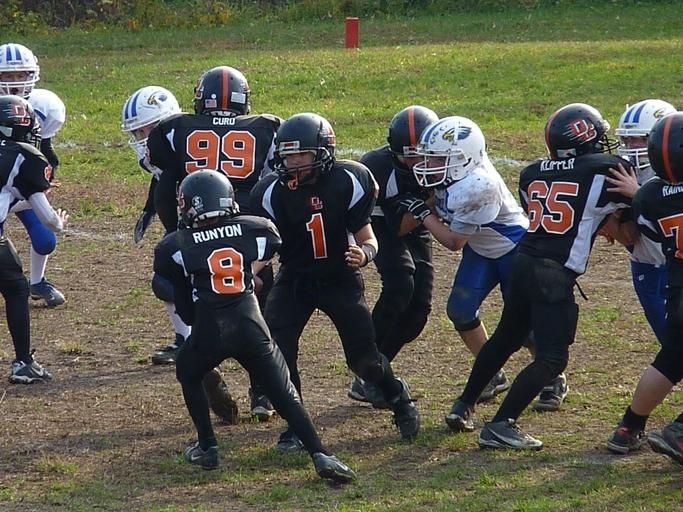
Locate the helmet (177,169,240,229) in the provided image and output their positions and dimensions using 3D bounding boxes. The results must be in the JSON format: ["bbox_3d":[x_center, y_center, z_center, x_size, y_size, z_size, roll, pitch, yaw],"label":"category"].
[{"bbox_3d":[-1.071,-0.501,8.626,0.452,0.416,0.569,-6,-3,-13],"label":"helmet"}]

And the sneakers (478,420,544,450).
[{"bbox_3d":[1.288,1.402,8.613,0.600,0.228,0.198,2,1,0],"label":"sneakers"}]

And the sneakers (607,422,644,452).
[{"bbox_3d":[2.193,1.396,8.463,0.378,0.157,0.138,-11,11,-40],"label":"sneakers"}]

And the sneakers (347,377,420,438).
[{"bbox_3d":[0.440,1.225,8.938,0.189,0.532,0.241,-38,-17,25],"label":"sneakers"}]

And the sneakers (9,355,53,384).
[{"bbox_3d":[-2.799,1.035,9.855,0.433,0.183,0.155,2,0,-30],"label":"sneakers"}]

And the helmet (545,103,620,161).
[{"bbox_3d":[1.951,-1.020,9.009,0.675,0.471,0.443,-9,14,-21],"label":"helmet"}]

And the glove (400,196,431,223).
[{"bbox_3d":[0.614,-0.399,9.015,0.233,0.155,0.071,39,-5,39],"label":"glove"}]

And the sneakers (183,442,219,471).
[{"bbox_3d":[-1.085,1.541,8.510,0.370,0.162,0.133,10,12,33],"label":"sneakers"}]

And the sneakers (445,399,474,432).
[{"bbox_3d":[0.953,1.301,8.824,0.144,0.165,0.372,-2,-9,17],"label":"sneakers"}]

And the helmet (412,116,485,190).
[{"bbox_3d":[0.852,-0.857,8.847,0.695,0.476,0.476,-6,10,-18],"label":"helmet"}]

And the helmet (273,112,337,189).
[{"bbox_3d":[-0.288,-0.900,8.791,0.510,0.504,0.652,1,14,28],"label":"helmet"}]

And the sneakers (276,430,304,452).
[{"bbox_3d":[-0.422,1.466,8.673,0.213,0.144,0.158,3,21,16],"label":"sneakers"}]
